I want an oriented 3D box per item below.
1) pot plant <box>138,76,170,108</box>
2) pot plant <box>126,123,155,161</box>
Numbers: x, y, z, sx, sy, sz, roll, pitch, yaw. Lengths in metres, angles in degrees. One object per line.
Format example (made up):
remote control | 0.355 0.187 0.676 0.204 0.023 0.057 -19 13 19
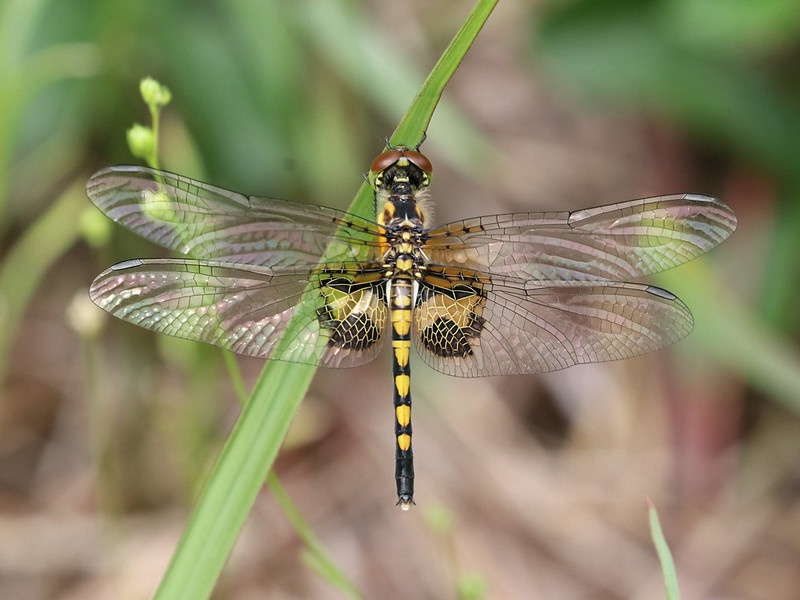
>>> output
pot plant | -0.845 -0.716 2.880 0.088 0.104 0.156 5 5 -23
pot plant | -0.863 -0.532 2.819 0.096 0.120 0.065 8 5 11
